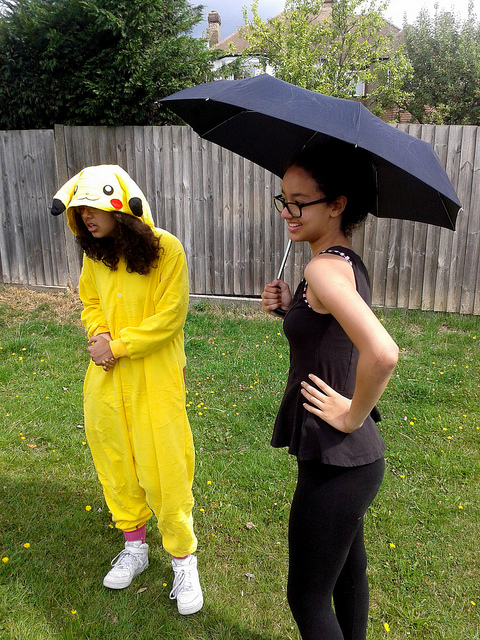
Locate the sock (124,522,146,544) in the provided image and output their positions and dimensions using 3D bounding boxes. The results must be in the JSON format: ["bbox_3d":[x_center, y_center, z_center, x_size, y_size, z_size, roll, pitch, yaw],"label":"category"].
[{"bbox_3d":[-0.537,1.091,3.032,0.082,0.100,0.091,2,12,8],"label":"sock"}]

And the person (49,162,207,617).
[{"bbox_3d":[-0.497,0.313,2.806,0.735,2.026,0.528,2,13,7],"label":"person"}]

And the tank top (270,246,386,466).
[{"bbox_3d":[0.294,0.124,2.001,0.395,0.739,0.311,11,17,40],"label":"tank top"}]

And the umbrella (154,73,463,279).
[{"bbox_3d":[-0.058,-0.767,3.089,0.871,0.676,0.968,17,17,-27],"label":"umbrella"}]
